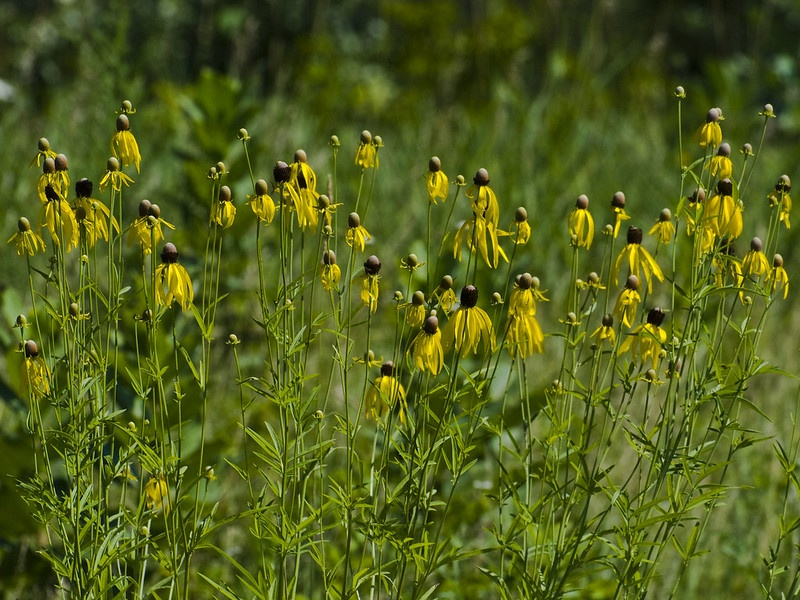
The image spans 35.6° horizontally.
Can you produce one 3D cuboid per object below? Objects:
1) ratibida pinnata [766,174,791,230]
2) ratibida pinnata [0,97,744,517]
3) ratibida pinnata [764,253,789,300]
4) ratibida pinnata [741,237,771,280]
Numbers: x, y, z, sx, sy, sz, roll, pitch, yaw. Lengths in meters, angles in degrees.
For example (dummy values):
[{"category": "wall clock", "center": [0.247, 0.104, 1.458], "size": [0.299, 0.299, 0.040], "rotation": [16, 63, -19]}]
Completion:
[{"category": "ratibida pinnata", "center": [1.372, -0.359, 4.502], "size": [0.075, 0.102, 0.205], "rotation": [4, 87, -59]}, {"category": "ratibida pinnata", "center": [-0.076, 0.227, 4.948], "size": [2.656, 1.352, 2.177], "rotation": [2, 39, -2]}, {"category": "ratibida pinnata", "center": [1.350, -0.089, 4.464], "size": [0.061, 0.181, 0.074], "rotation": [5, 13, 15]}, {"category": "ratibida pinnata", "center": [1.274, -0.154, 4.446], "size": [0.085, 0.083, 0.136], "rotation": [0, 87, -64]}]
